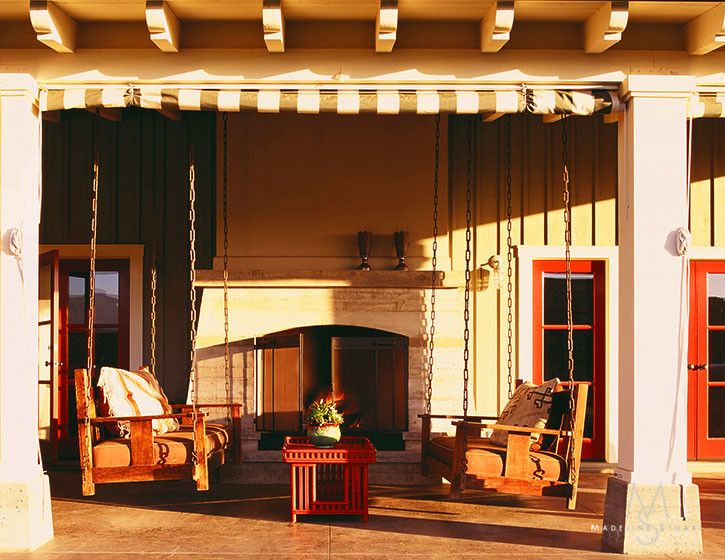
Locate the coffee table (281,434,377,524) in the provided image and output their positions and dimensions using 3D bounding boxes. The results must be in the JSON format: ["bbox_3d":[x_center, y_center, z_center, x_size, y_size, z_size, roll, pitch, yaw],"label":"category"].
[{"bbox_3d":[-0.255,1.536,8.843,0.728,0.637,0.623,1,-6,-6],"label":"coffee table"}]

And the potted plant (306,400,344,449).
[{"bbox_3d":[-0.304,1.138,9.005,0.349,0.411,0.367,1,-6,3],"label":"potted plant"}]

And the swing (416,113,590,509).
[{"bbox_3d":[1.253,0.202,9.671,1.369,3.218,2.704,1,6,12],"label":"swing"}]
